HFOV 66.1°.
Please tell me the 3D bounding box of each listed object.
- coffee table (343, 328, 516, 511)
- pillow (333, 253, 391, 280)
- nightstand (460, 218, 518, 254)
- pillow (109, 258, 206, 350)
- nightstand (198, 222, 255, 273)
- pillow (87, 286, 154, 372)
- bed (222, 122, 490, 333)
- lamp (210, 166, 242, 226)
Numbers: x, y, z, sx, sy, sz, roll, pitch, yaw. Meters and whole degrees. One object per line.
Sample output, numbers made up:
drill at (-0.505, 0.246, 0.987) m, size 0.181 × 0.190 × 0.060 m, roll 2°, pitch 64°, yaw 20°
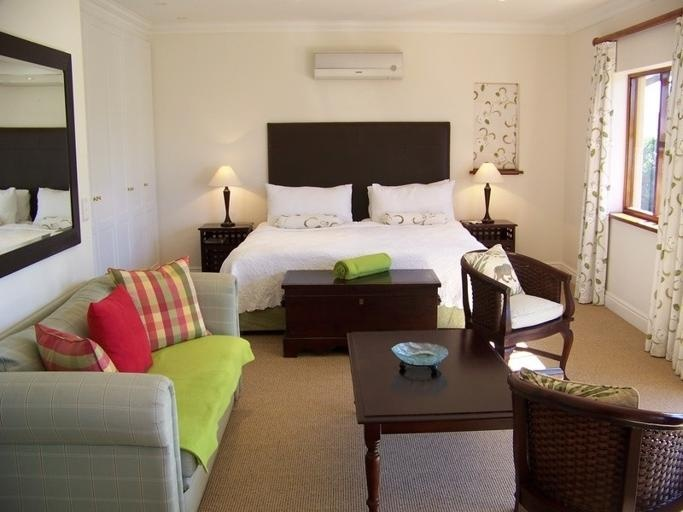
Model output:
coffee table at (0.484, 0.850, 2.851) m, size 0.845 × 0.607 × 0.995 m, roll -2°, pitch 11°, yaw 0°
pillow at (0.188, 0.066, 4.331) m, size 0.437 × 0.160 × 0.200 m, roll -9°, pitch 21°, yaw -34°
nightstand at (1.702, -0.257, 5.991) m, size 0.509 × 0.526 × 0.405 m, roll -1°, pitch 7°, yaw -4°
pillow at (-1.086, 0.317, 3.181) m, size 0.268 × 0.508 × 0.525 m, roll 8°, pitch 12°, yaw 32°
nightstand at (-1.318, -0.138, 6.169) m, size 0.655 × 0.686 × 0.519 m, roll -1°, pitch 5°, yaw -7°
pillow at (-1.127, 0.383, 2.668) m, size 0.163 × 0.318 × 0.369 m, roll -4°, pitch 9°, yaw -9°
bed at (0.159, -0.592, 5.465) m, size 2.162 × 1.808 × 2.187 m, roll 0°, pitch 7°, yaw 2°
lamp at (-1.310, -0.678, 6.016) m, size 0.349 × 0.675 × 0.364 m, roll -3°, pitch 0°, yaw 2°
